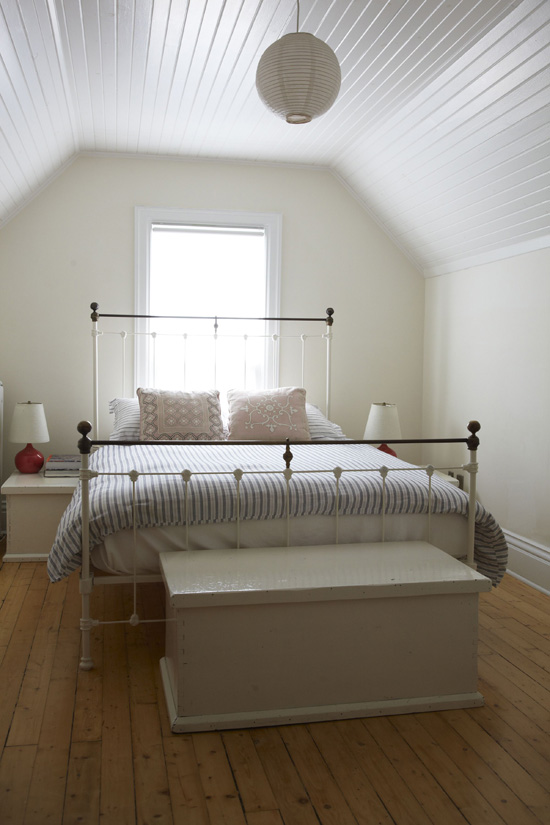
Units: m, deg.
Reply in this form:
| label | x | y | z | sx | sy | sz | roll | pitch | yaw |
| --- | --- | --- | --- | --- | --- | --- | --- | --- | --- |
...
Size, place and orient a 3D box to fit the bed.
| label | x | y | z | sx | sy | sz | roll | pitch | yaw |
| --- | --- | --- | --- | --- | --- | --- | --- | --- | --- |
| bed | -0.112 | 0.136 | 2.688 | 1.448 | 1.257 | 1.924 | 0 | 8 | -12 |

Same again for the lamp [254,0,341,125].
| label | x | y | z | sx | sy | sz | roll | pitch | yaw |
| --- | --- | --- | --- | --- | --- | --- | --- | --- | --- |
| lamp | 0.060 | -0.977 | 1.740 | 0.201 | 0.192 | 0.207 | 2 | -2 | -43 |

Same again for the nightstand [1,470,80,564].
| label | x | y | z | sx | sy | sz | roll | pitch | yaw |
| --- | --- | --- | --- | --- | --- | --- | --- | --- | --- |
| nightstand | -1.154 | 0.497 | 2.974 | 0.351 | 0.290 | 0.373 | 0 | 2 | -8 |

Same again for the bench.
| label | x | y | z | sx | sy | sz | roll | pitch | yaw |
| --- | --- | --- | --- | --- | --- | --- | --- | --- | --- |
| bench | 0.116 | 0.587 | 1.606 | 0.833 | 0.365 | 0.336 | 1 | -1 | -13 |
